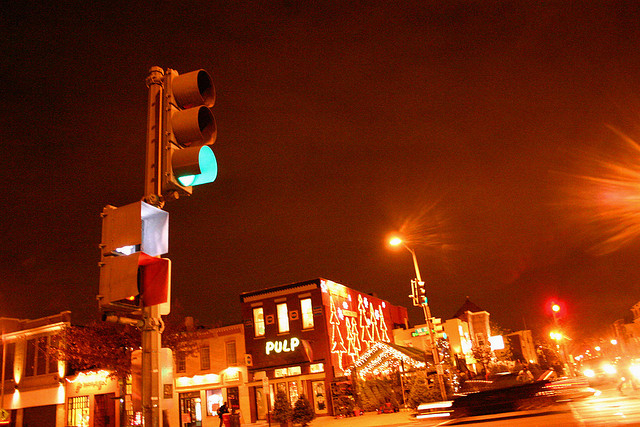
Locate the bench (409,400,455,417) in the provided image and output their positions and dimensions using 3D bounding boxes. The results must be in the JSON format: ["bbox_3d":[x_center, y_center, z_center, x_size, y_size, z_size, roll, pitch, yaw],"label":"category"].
[{"bbox_3d":[7.084,11.792,35.950,2.162,0.798,1.239,-18,-26,18],"label":"bench"}]

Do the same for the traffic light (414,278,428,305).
[{"bbox_3d":[6.333,4.864,37.411,0.365,1.638,0.723,8,-32,-34],"label":"traffic light"}]

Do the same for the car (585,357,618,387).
[{"bbox_3d":[22.465,12.698,47.632,1.887,2.431,8.613,-19,-26,18],"label":"car"}]

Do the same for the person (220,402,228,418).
[{"bbox_3d":[-6.975,14.359,42.868,0.518,0.812,0.788,-4,-26,-13],"label":"person"}]

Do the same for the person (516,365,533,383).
[{"bbox_3d":[13.041,10.405,37.865,0.852,1.092,2.878,-18,-26,17],"label":"person"}]
